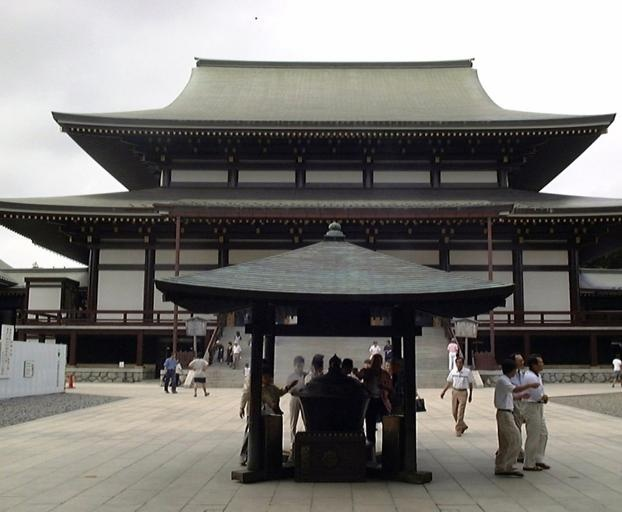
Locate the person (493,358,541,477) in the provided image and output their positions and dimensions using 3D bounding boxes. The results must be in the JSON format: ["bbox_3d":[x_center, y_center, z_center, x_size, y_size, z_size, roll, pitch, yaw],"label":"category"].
[{"bbox_3d":[3.424,2.712,10.692,0.760,1.942,0.489,6,-13,-25],"label":"person"}]

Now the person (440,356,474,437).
[{"bbox_3d":[3.379,3.198,14.348,0.633,1.728,1.521,-2,-12,12],"label":"person"}]

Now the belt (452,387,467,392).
[{"bbox_3d":[3.392,3.018,14.294,0.338,0.082,0.173,-8,-15,36],"label":"belt"}]

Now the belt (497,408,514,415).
[{"bbox_3d":[3.262,2.568,10.464,0.249,0.088,0.144,0,-12,2],"label":"belt"}]

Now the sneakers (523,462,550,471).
[{"bbox_3d":[3.933,3.647,10.868,0.456,0.144,0.170,-1,-4,-10],"label":"sneakers"}]
